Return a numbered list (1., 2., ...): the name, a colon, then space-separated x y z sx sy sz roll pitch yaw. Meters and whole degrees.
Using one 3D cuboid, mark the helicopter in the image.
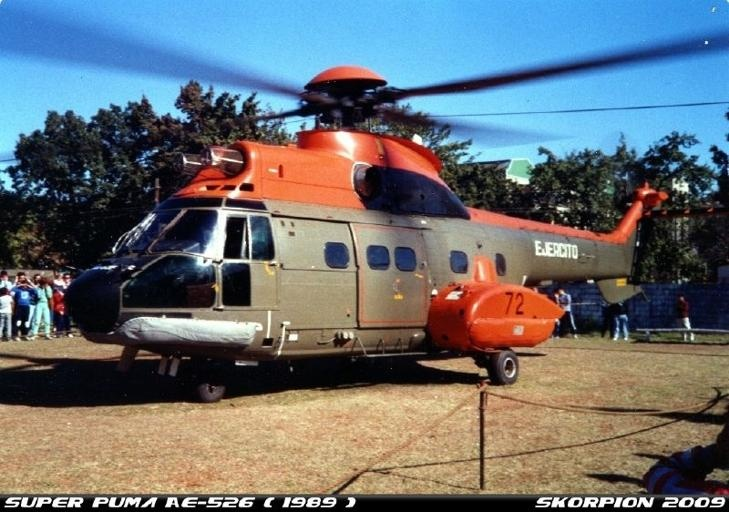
1. helicopter: -0.094 0.131 13.346 10.305 2.675 9.805 2 -2 -41
